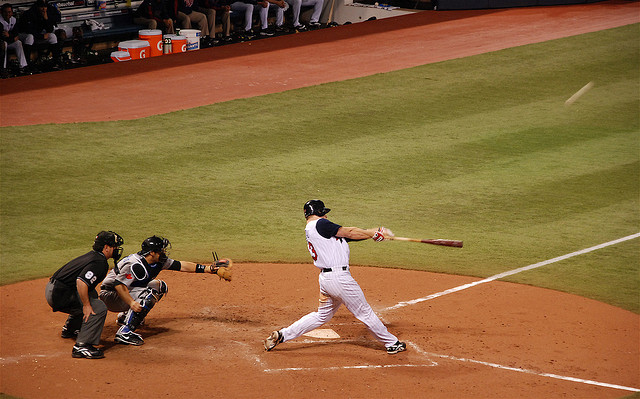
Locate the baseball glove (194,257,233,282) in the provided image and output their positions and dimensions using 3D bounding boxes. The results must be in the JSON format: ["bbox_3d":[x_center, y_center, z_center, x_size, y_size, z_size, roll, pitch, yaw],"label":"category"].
[{"bbox_3d":[-1.804,1.184,15.386,0.913,0.251,0.438,3,21,25],"label":"baseball glove"}]

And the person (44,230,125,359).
[{"bbox_3d":[-3.852,1.579,14.617,1.200,1.966,0.874,-7,20,-14],"label":"person"}]

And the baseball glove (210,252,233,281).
[{"bbox_3d":[-1.688,1.198,15.408,0.362,0.478,0.478,-2,18,-2],"label":"baseball glove"}]

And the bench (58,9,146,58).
[{"bbox_3d":[-6.746,-4.978,26.514,1.328,1.276,2.398,10,19,32],"label":"bench"}]

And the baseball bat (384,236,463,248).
[{"bbox_3d":[2.013,0.777,16.701,1.629,0.126,0.161,6,38,-10],"label":"baseball bat"}]

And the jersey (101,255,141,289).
[{"bbox_3d":[-3.324,1.221,14.958,0.598,0.323,0.486,-39,14,6],"label":"jersey"}]

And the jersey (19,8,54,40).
[{"bbox_3d":[-7.799,-4.803,24.488,0.845,0.708,0.525,28,53,-2],"label":"jersey"}]

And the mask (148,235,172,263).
[{"bbox_3d":[-2.732,0.836,15.130,0.354,0.375,0.397,13,-8,28],"label":"mask"}]
